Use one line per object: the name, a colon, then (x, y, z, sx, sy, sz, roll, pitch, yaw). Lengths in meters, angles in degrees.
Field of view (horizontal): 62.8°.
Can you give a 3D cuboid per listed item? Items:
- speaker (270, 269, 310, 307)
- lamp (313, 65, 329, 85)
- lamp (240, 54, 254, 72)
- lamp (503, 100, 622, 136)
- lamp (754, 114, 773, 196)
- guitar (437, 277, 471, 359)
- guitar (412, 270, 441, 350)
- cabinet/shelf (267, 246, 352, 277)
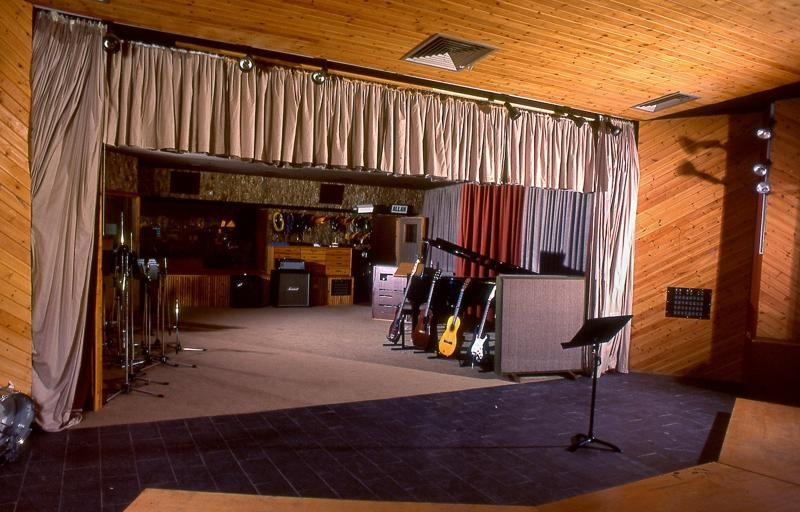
speaker: (-2.449, 0.707, 14.152, 0.838, 0.749, 0.637, 1, 1, -34)
lamp: (-0.960, -2.187, 7.943, 0.125, 0.184, 0.244, 12, 17, 38)
lamp: (-1.794, -2.242, 7.641, 0.171, 0.174, 0.117, -3, 14, -14)
lamp: (2.323, -1.883, 9.244, 1.227, 0.173, 0.249, -17, 7, -3)
lamp: (4.796, -1.254, 8.705, 0.267, 1.056, 0.250, -4, 16, 18)
guitar: (0.756, 0.922, 9.758, 0.376, 1.208, 0.487, 9, 16, 31)
guitar: (0.376, 0.835, 10.137, 0.360, 1.271, 0.507, 6, 14, 19)
cabinet/shelf: (-1.981, 0.110, 14.573, 1.769, 0.729, 0.317, -3, 14, -16)
